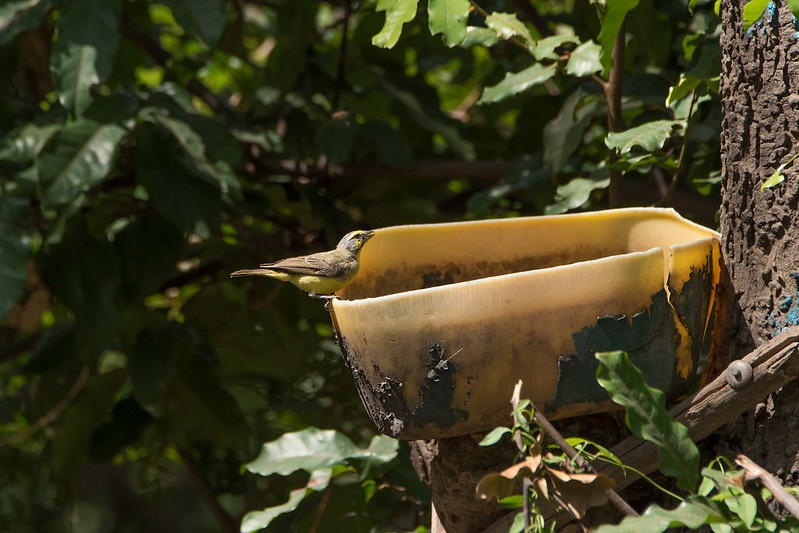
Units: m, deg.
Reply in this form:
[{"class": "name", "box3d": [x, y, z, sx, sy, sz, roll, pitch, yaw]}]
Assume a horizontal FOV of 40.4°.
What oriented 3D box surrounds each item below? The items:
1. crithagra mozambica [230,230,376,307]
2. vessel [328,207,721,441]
[{"class": "crithagra mozambica", "box3d": [-0.250, 0.019, 3.626, 0.606, 0.285, 0.191, -2, 5, 23]}, {"class": "vessel", "box3d": [0.389, 0.083, 3.466, 1.119, 0.491, 0.727, -9, -2, -2]}]
